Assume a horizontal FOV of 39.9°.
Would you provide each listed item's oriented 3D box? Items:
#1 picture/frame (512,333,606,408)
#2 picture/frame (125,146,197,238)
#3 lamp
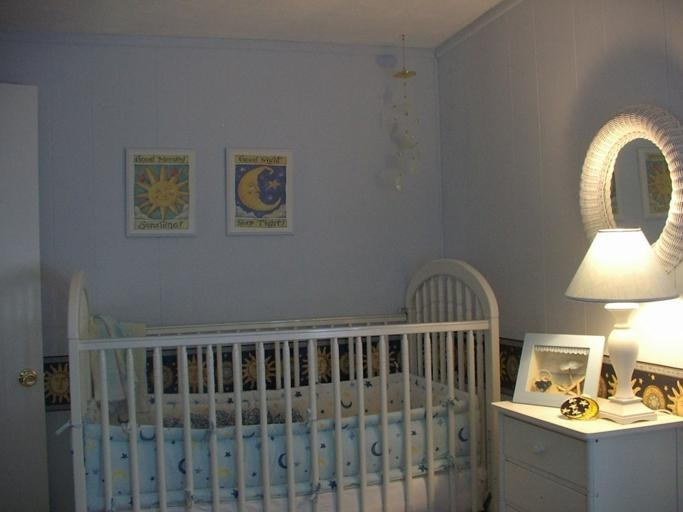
[{"bbox_3d":[1.090,0.579,4.676,0.302,0.331,0.023,5,-16,37],"label":"picture/frame"},{"bbox_3d":[-1.067,-0.366,5.592,0.397,0.569,0.028,0,-23,-11],"label":"picture/frame"},{"bbox_3d":[1.329,0.326,4.424,0.492,0.905,0.289,-1,1,-11],"label":"lamp"}]
